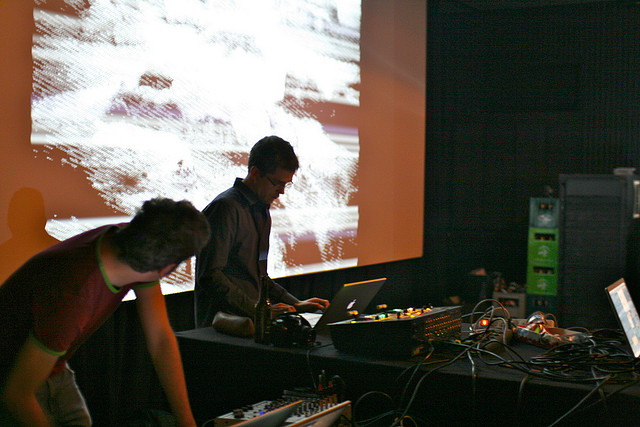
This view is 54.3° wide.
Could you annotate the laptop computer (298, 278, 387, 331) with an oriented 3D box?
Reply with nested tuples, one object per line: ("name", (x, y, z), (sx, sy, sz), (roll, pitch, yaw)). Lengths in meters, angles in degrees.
("laptop computer", (0.140, 0.467, 3.333), (0.330, 0.175, 0.350), (2, -2, 41))

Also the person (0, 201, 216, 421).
("person", (-0.939, 0.461, 2.764), (0.799, 1.043, 0.474), (1, 1, -11))

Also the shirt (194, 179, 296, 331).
("shirt", (-0.417, 0.234, 3.624), (0.595, 0.879, 0.552), (1, 1, -11))

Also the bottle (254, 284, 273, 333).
("bottle", (-0.281, 0.472, 3.158), (0.086, 0.238, 0.161), (1, 1, -6))
